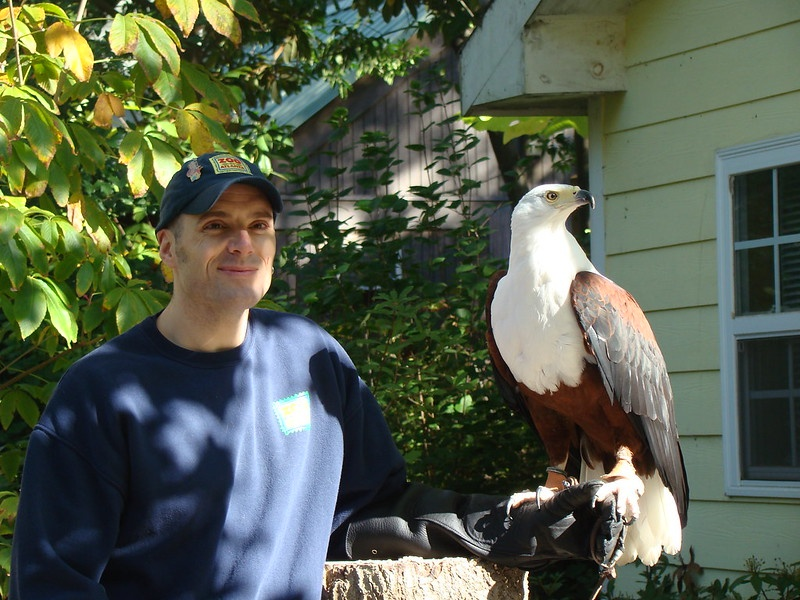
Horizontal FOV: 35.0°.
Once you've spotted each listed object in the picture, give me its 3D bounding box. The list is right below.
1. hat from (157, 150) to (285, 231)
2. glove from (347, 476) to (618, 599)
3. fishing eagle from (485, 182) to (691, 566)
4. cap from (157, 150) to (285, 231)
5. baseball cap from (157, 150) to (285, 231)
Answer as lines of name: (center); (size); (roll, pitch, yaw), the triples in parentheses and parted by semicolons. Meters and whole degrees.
hat: (-0.698, -0.463, 5.078); (0.410, 0.322, 0.359); (9, 10, 32)
glove: (0.357, 0.921, 5.145); (0.805, 0.342, 0.510); (5, -2, -6)
fishing eagle: (0.953, 0.314, 6.212); (1.131, 1.730, 0.763); (11, -11, -43)
cap: (-0.695, -0.467, 5.065); (0.410, 0.322, 0.359); (9, 10, 32)
baseball cap: (-0.700, -0.441, 5.087); (0.410, 0.322, 0.359); (9, 10, 32)
